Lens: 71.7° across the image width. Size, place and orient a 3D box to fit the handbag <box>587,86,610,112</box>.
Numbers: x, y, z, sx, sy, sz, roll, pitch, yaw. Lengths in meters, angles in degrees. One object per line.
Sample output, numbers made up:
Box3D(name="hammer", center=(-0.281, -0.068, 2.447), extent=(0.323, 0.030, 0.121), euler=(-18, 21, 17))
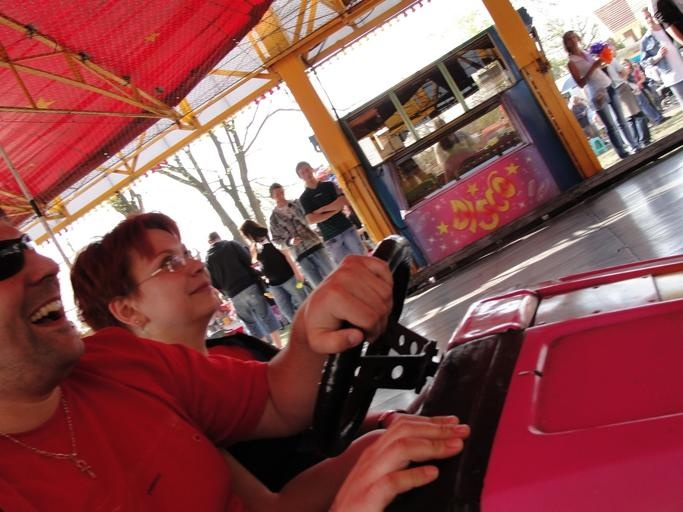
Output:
Box3D(name="handbag", center=(3.582, -2.155, 6.522), extent=(0.282, 0.235, 0.280), euler=(4, 25, 46))
